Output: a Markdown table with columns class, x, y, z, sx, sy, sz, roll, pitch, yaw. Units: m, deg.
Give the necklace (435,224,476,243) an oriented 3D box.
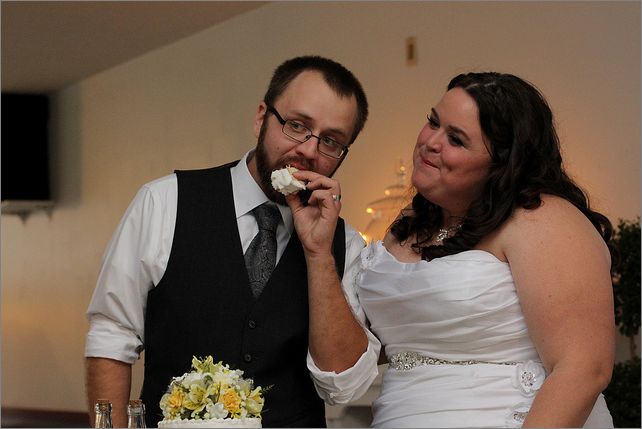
| class | x | y | z | sx | sy | sz | roll | pitch | yaw |
| --- | --- | --- | --- | --- | --- | --- | --- | --- | --- |
| necklace | 0.850 | 0.125 | 5.227 | 0.030 | 0.081 | 0.204 | 3 | -29 | -37 |
